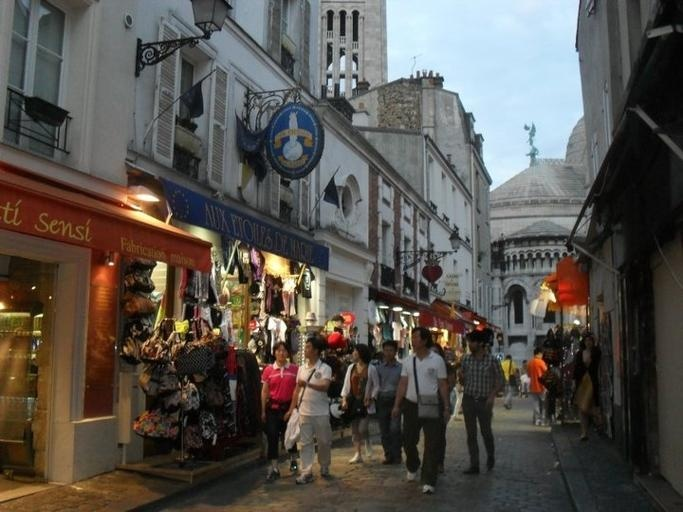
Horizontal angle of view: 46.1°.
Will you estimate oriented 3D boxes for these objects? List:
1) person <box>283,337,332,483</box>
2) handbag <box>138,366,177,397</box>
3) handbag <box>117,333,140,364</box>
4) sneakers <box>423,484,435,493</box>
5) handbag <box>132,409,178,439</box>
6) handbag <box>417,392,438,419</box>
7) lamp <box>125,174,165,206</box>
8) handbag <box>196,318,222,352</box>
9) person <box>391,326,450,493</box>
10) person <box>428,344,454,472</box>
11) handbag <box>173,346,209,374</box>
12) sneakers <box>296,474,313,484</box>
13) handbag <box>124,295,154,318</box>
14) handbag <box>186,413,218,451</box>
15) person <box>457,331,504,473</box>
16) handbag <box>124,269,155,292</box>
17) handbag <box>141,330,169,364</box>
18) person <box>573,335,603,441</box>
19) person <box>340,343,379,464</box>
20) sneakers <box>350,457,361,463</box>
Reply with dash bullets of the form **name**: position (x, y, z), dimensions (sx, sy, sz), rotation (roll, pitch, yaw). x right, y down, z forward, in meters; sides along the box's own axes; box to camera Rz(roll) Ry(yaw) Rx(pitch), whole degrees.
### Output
- **person**: position (-0.462, 2.302, 12.203), dimensions (0.611, 2.116, 0.783), rotation (1, -4, -3)
- **handbag**: position (-2.803, 1.961, 12.213), dimensions (0.417, 0.479, 0.146), rotation (-5, -29, -14)
- **handbag**: position (-3.266, 1.445, 12.428), dimensions (0.269, 0.434, 0.426), rotation (1, -24, -8)
- **sneakers**: position (1.202, 3.212, 11.116), dimensions (0.178, 0.122, 0.218), rotation (0, -4, 4)
- **handbag**: position (-2.759, 2.470, 12.044), dimensions (0.506, 0.200, 0.413), rotation (7, -2, -1)
- **handbag**: position (1.226, 2.138, 11.442), dimensions (0.289, 0.342, 0.131), rotation (0, -34, -1)
- **lamp**: position (-3.116, -1.080, 13.135), dimensions (0.552, 0.484, 0.909), rotation (-2, -5, 32)
- **handbag**: position (-2.126, 1.274, 12.686), dimensions (0.224, 0.379, 0.566), rotation (13, 6, -26)
- **person**: position (1.216, 2.180, 11.726), dimensions (0.717, 2.272, 1.209), rotation (2, -4, -16)
- **person**: position (1.501, 2.470, 12.568), dimensions (0.760, 1.696, 0.329), rotation (3, -4, -40)
- **handbag**: position (-2.241, 1.557, 12.109), dimensions (0.582, 0.427, 0.118), rotation (3, -5, -32)
- **sneakers**: position (-0.547, 3.277, 11.848), dimensions (0.276, 0.126, 0.248), rotation (1, -4, -12)
- **handbag**: position (-3.195, 0.820, 12.667), dimensions (0.297, 0.282, 0.403), rotation (-37, -17, 6)
- **handbag**: position (-2.146, 2.661, 12.296), dimensions (0.512, 0.568, 0.145), rotation (2, -4, -23)
- **person**: position (2.177, 2.259, 12.619), dimensions (0.644, 2.174, 0.798), rotation (0, -4, 8)
- **handbag**: position (-3.229, 0.424, 12.735), dimensions (0.303, 0.356, 0.324), rotation (-2, -12, 6)
- **handbag**: position (-2.785, 1.374, 12.079), dimensions (0.477, 0.423, 0.265), rotation (-1, -4, 18)
- **person**: position (4.667, 2.469, 15.269), dimensions (0.477, 1.942, 0.751), rotation (-1, -4, 16)
- **person**: position (0.304, 2.475, 13.659), dimensions (0.620, 1.943, 1.024), rotation (0, -4, 0)
- **sneakers**: position (0.217, 3.376, 13.286), dimensions (0.216, 0.118, 0.085), rotation (3, -17, -17)
